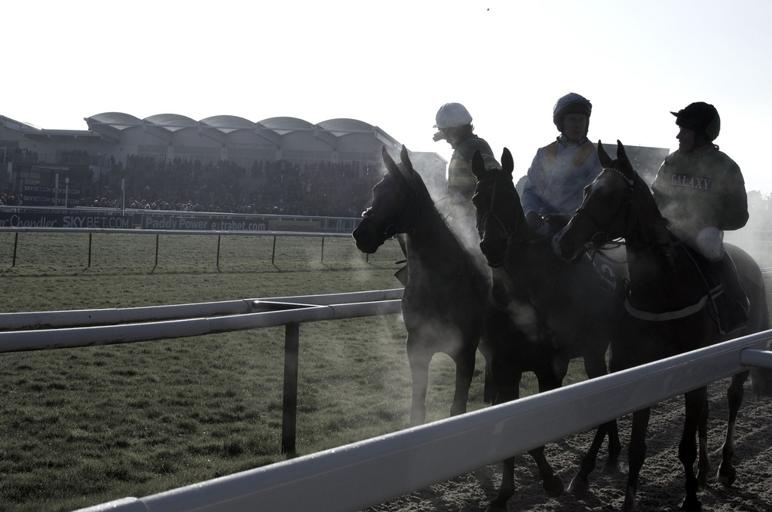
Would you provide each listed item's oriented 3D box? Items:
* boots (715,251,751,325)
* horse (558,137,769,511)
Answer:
[{"bbox_3d":[1.975,0.238,3.694,0.139,0.487,0.182,8,-14,8],"label":"boots"},{"bbox_3d":[1.738,0.385,3.693,1.602,2.079,0.714,-9,13,-35],"label":"horse"}]
